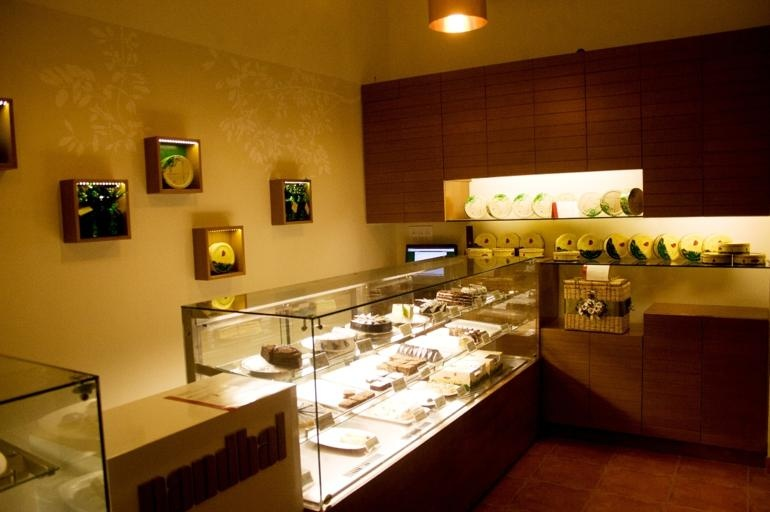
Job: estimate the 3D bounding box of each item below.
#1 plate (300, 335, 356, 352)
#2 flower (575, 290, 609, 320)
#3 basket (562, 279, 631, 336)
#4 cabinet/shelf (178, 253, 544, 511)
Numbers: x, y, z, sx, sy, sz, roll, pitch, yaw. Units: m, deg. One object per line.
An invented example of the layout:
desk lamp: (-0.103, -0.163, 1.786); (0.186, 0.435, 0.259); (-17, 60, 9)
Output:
plate: (-0.290, 0.461, 2.876); (0.150, 0.039, 0.152); (0, 3, 13)
flower: (1.753, 0.415, 4.640); (0.218, 0.210, 0.077); (13, 8, 13)
basket: (1.848, 0.368, 4.834); (0.685, 0.565, 0.421); (1, 2, 24)
cabinet/shelf: (0.072, 0.630, 3.544); (0.659, 1.026, 2.419); (0, 8, 45)
